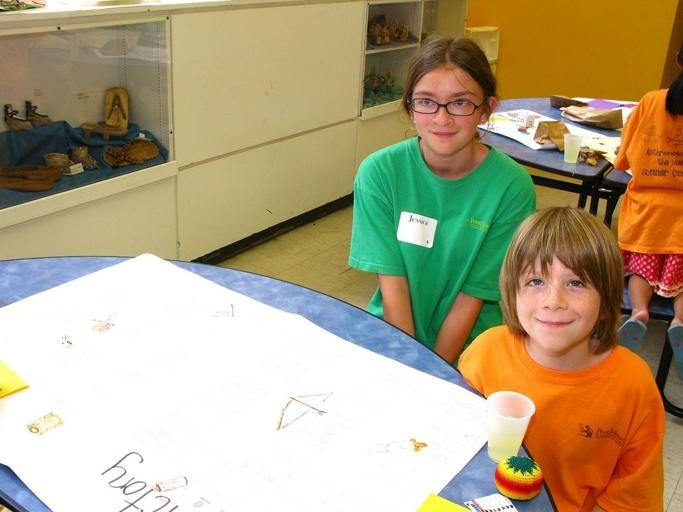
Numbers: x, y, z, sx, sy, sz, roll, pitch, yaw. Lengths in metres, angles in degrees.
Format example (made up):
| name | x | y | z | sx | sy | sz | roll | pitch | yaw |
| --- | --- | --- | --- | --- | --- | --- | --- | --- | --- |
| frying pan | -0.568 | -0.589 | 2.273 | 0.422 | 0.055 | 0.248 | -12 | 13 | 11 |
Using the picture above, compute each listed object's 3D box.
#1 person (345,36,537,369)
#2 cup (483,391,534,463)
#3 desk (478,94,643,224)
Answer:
| name | x | y | z | sx | sy | sz | roll | pitch | yaw |
| --- | --- | --- | --- | --- | --- | --- | --- | --- | --- |
| person | 0.313 | -0.130 | 1.659 | 0.578 | 1.029 | 0.555 | -19 | 33 | -26 |
| cup | 0.297 | 0.311 | 0.927 | 0.091 | 0.093 | 0.093 | 3 | 14 | -1 |
| desk | 1.075 | -0.503 | 2.483 | 0.669 | 0.216 | 0.933 | -22 | 43 | -32 |
